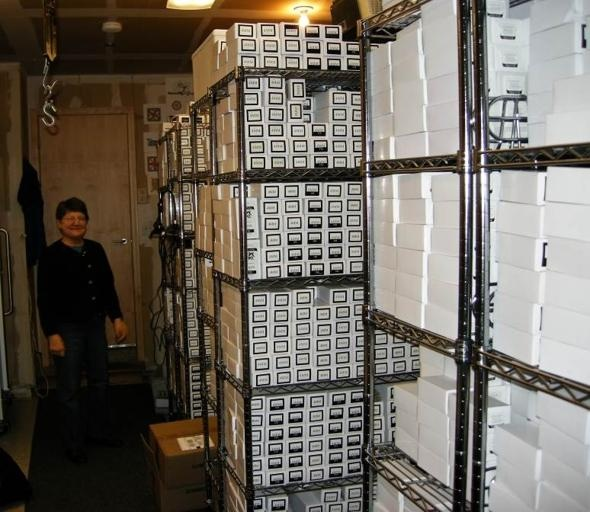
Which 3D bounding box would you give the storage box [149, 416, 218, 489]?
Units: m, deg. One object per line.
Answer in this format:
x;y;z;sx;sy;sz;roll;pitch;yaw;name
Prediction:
-0.721;1.301;4.086;0.481;0.271;0.478;18;17;39;storage box

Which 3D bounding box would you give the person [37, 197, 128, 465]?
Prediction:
-1.565;0.651;4.642;0.612;1.681;0.368;-8;8;-32;person
